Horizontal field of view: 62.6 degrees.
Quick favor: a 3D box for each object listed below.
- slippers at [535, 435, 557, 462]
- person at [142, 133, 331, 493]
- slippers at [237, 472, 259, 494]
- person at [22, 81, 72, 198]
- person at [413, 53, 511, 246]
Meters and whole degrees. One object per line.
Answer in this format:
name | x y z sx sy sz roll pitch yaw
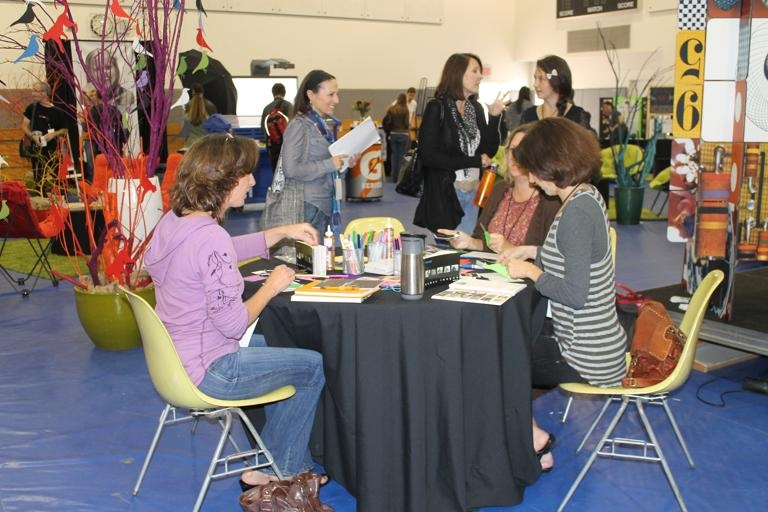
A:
slippers | 0.871 1.013 3.346 0.065 0.183 0.072 27 2 1
person | -0.687 0.317 2.945 0.751 1.721 0.416 -7 16 -18
slippers | -0.675 1.129 3.181 0.112 0.104 0.118 1 -3 -1
person | -4.641 -1.363 8.441 0.527 0.416 1.541 -7 54 -14
person | 0.583 -0.551 4.686 0.616 1.721 0.610 -5 24 -7
